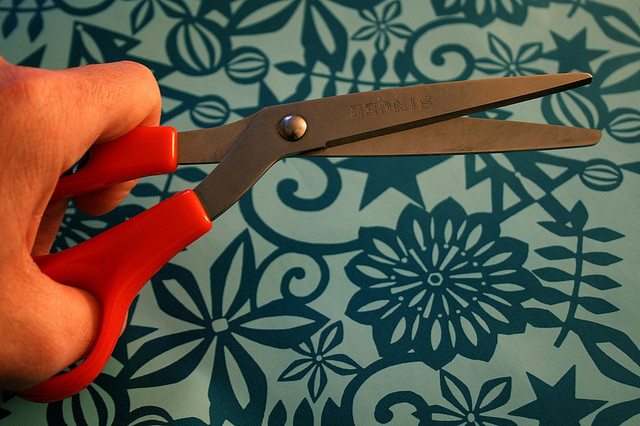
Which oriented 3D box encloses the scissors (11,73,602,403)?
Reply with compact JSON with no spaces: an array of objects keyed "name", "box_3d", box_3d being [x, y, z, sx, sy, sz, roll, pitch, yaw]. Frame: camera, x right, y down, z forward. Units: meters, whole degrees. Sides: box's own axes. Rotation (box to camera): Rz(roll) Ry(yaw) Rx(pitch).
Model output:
[{"name":"scissors","box_3d":[-0.058,-0.002,1.055,0.837,0.380,0.133,-13,-13,-2]}]
